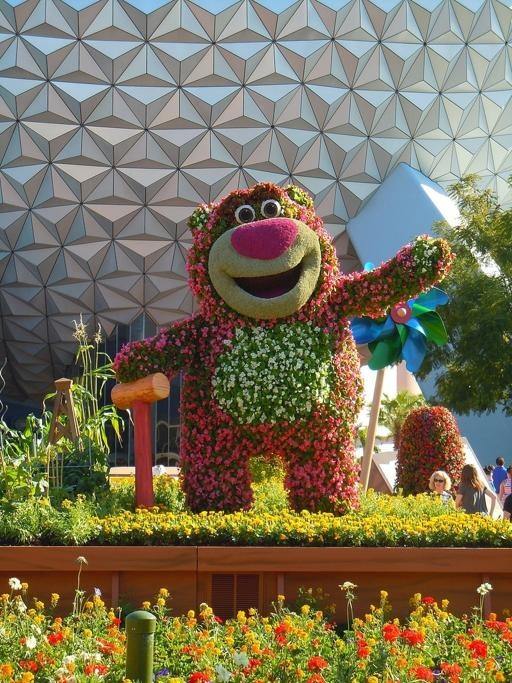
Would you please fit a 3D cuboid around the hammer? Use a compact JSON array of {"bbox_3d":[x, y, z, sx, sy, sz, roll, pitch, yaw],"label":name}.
[{"bbox_3d":[-0.825,0.698,6.769,0.426,0.814,0.192,-17,-22,37],"label":"hammer"}]
